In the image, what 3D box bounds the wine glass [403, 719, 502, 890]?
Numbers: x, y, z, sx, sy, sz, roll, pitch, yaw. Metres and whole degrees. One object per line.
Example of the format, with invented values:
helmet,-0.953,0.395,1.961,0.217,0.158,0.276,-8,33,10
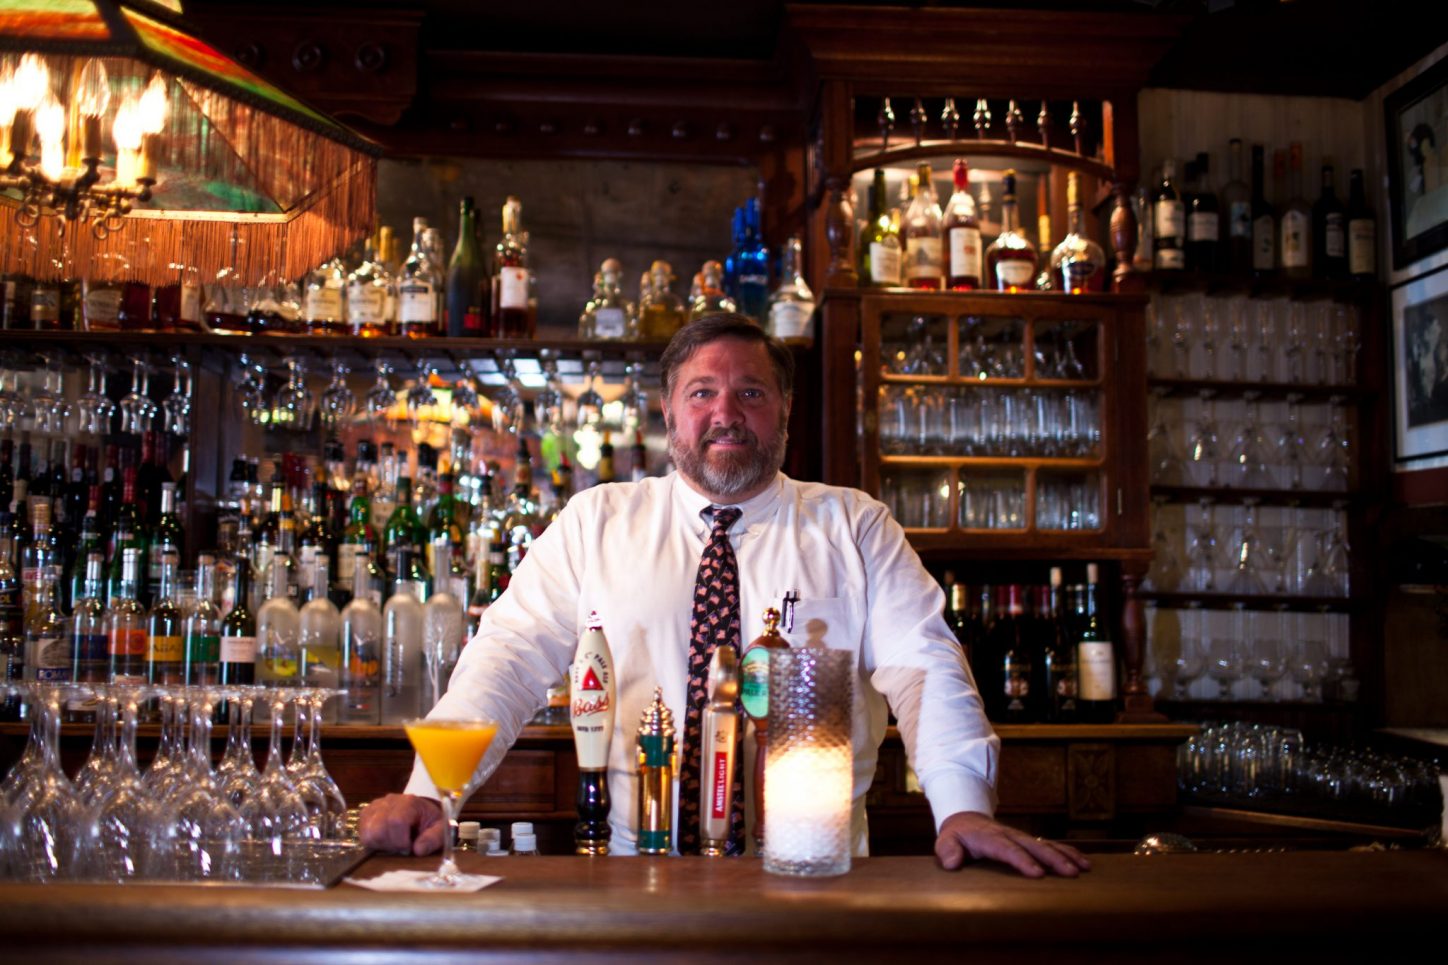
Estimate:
wine glass,-0.644,0.758,3.842,0.219,0.385,0.262,1,-5,1
